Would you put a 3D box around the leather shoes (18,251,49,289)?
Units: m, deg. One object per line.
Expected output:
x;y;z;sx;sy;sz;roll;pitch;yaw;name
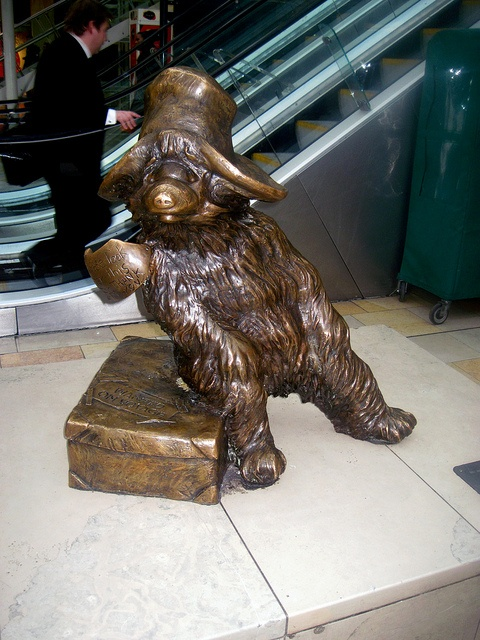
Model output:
-1.079;-0.265;3.080;0.157;0.057;0.251;-3;25;-29;leather shoes

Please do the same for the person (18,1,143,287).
-0.901;-0.939;3.009;0.578;1.386;0.594;-2;19;-8;person
